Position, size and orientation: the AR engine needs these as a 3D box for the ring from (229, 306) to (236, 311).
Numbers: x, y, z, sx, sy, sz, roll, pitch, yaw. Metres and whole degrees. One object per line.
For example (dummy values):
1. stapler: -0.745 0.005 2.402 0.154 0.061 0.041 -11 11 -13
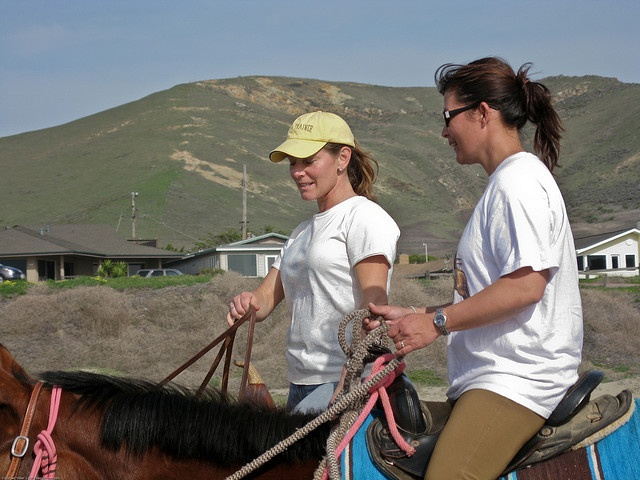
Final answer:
1. ring: -0.516 0.409 5.208 0.021 0.032 0.013 -8 -8 32

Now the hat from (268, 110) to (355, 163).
1. hat: -0.038 -0.594 5.180 0.436 0.224 0.280 -1 0 -36
